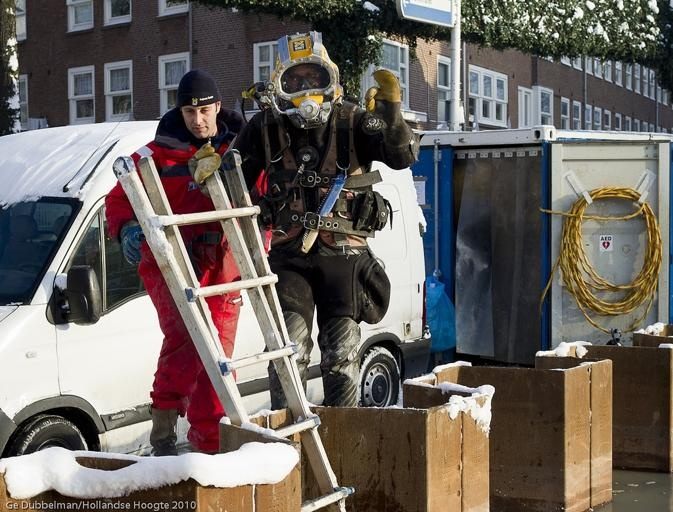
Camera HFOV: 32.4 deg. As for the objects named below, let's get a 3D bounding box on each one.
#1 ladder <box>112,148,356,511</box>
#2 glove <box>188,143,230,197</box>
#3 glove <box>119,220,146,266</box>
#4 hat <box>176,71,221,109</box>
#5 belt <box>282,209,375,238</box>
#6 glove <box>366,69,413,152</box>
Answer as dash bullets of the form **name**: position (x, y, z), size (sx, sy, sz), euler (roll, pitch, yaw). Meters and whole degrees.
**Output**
- **ladder**: position (-0.683, 0.550, 7.602), size (1.478, 2.459, 0.798), euler (0, 6, 0)
- **glove**: position (-0.875, -0.556, 7.837), size (0.120, 0.242, 0.285), euler (21, 14, 33)
- **glove**: position (-1.443, -0.100, 8.346), size (0.204, 0.275, 0.288), euler (-1, -8, -2)
- **hat**: position (-1.027, -1.267, 8.663), size (0.326, 0.313, 0.360), euler (-3, 2, 5)
- **belt**: position (-0.085, -0.242, 8.070), size (0.390, 0.093, 0.111), euler (11, -11, -6)
- **glove**: position (0.355, -1.015, 7.882), size (0.310, 0.532, 0.186), euler (0, 6, 0)
